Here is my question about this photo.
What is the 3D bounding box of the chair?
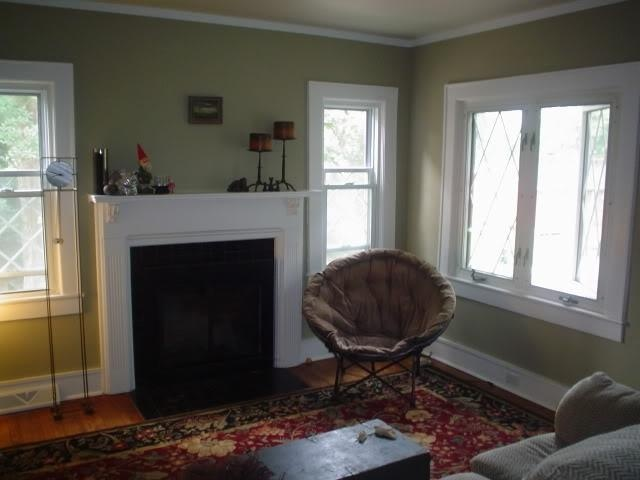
[{"bbox_3d":[0.504,0.852,4.498,1.183,1.014,1.227,0,23,6],"label":"chair"}]

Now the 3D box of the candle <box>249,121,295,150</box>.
[{"bbox_3d":[-0.417,-0.884,4.421,0.374,0.256,0.222,0,4,10],"label":"candle"}]
